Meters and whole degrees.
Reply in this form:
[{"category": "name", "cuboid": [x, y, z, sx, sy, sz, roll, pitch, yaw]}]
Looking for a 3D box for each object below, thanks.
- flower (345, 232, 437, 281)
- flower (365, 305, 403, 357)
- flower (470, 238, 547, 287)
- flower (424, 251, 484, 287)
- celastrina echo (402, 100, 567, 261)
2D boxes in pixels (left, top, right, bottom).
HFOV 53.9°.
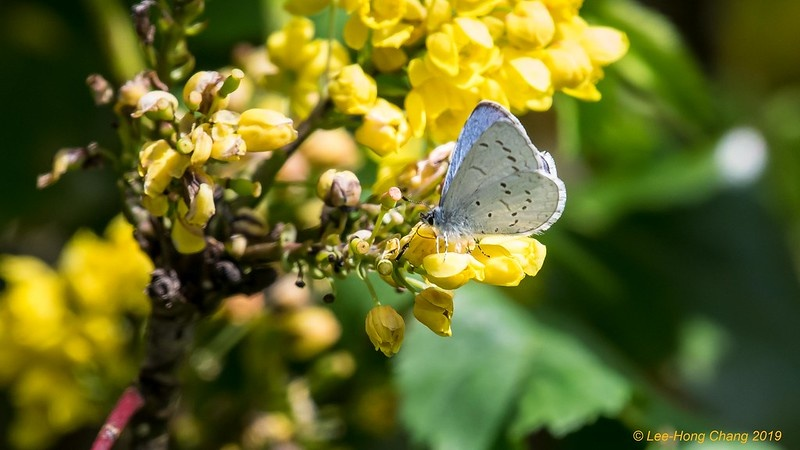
[{"category": "flower", "cuboid": [-0.014, 0.044, 1.395, 0.151, 0.082, 0.049, 3, 16, -6]}, {"category": "flower", "cuboid": [-0.023, 0.188, 1.415, 0.064, 0.088, 0.049, 11, 17, 23]}, {"category": "flower", "cuboid": [0.166, 0.057, 1.429, 0.088, 0.046, 0.088, 6, 20, -8]}, {"category": "flower", "cuboid": [0.095, 0.077, 1.374, 0.072, 0.034, 0.073, 12, 4, -31]}, {"category": "celastrina echo", "cuboid": [0.170, -0.066, 1.574, 0.324, 0.246, 0.348, 5, -14, 7]}]
